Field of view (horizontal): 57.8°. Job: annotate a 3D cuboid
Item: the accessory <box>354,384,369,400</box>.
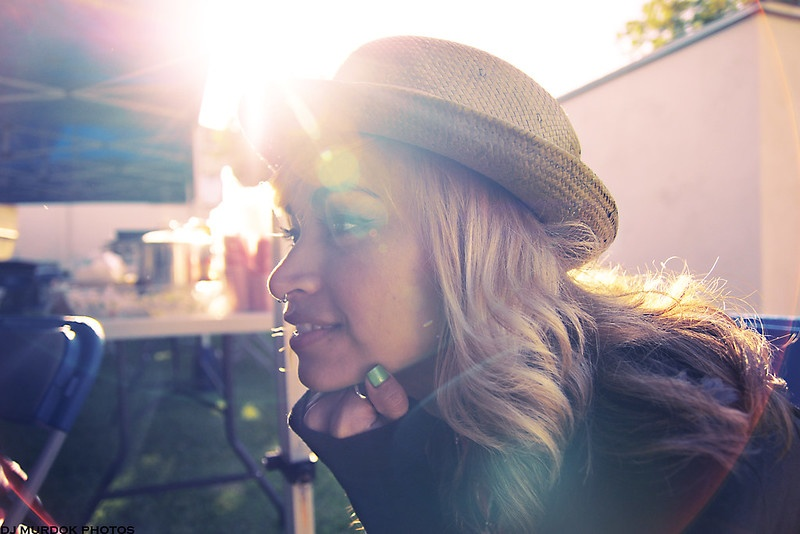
[{"bbox_3d":[-0.143,0.444,2.611,0.057,0.020,0.042,46,12,8],"label":"accessory"}]
